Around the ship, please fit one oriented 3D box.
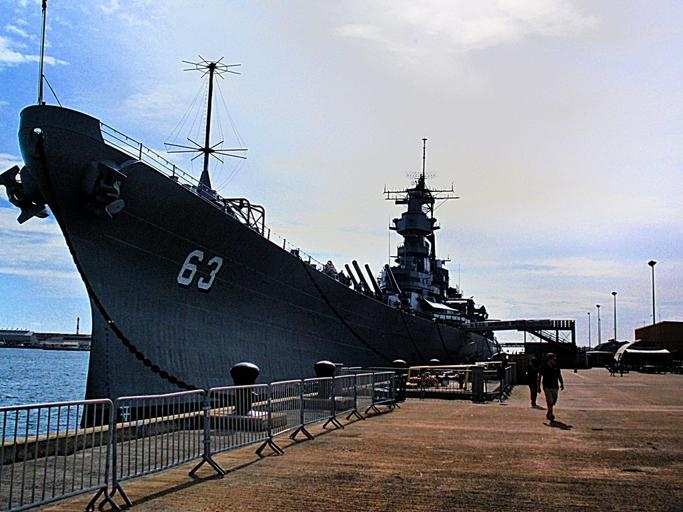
[{"bbox_3d":[1.090,1.609,31.008,8.333,12.503,30.726,-9,-16,26],"label":"ship"}]
